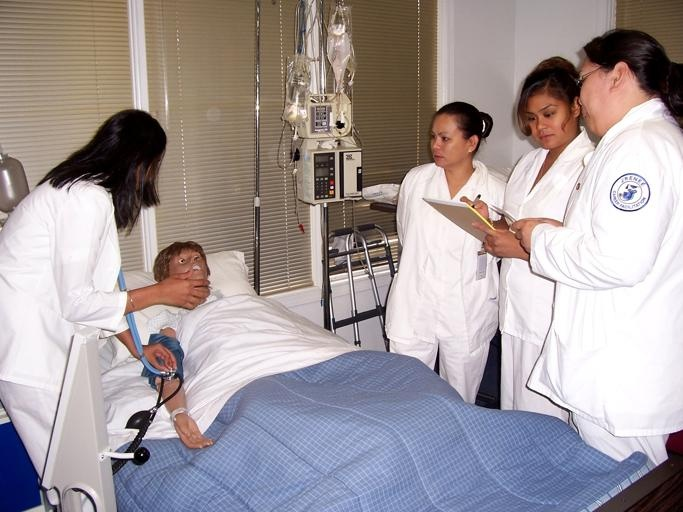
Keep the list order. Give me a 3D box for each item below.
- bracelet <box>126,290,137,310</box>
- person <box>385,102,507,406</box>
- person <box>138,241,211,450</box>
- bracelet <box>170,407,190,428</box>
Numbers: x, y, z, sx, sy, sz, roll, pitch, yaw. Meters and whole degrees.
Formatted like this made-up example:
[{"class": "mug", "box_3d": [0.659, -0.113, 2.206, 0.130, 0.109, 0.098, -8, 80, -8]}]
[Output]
[{"class": "bracelet", "box_3d": [-0.731, 0.155, 1.797, 0.014, 0.051, 0.051, -5, -10, -2]}, {"class": "person", "box_3d": [0.563, 0.224, 2.813, 0.645, 2.016, 0.588, 8, 20, 19]}, {"class": "person", "box_3d": [-0.709, 0.339, 2.238, 0.222, 0.827, 0.373, -26, -27, 30]}, {"class": "bracelet", "box_3d": [-0.622, 0.617, 1.964, 0.050, 0.049, 0.063, 1, -3, -36]}]
